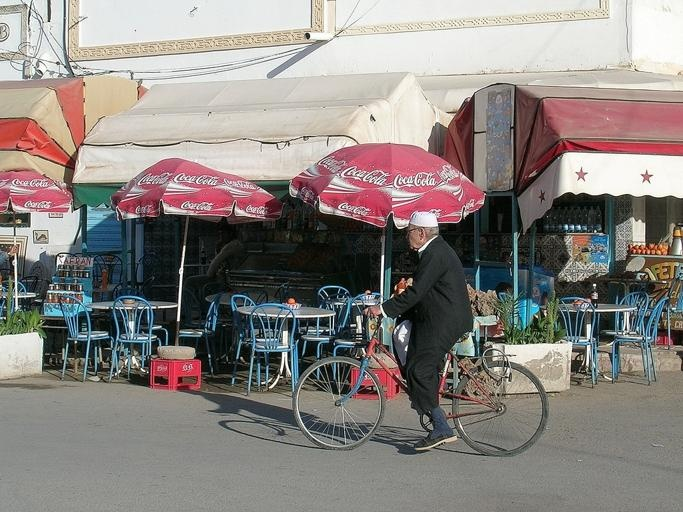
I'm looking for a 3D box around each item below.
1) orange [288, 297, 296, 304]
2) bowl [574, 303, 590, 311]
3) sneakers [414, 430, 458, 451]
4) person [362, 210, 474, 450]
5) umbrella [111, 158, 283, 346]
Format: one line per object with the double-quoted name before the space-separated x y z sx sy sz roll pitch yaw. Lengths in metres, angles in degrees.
"orange" -0.768 0.676 16.857 0.091 0.121 0.098 1 -32 -6
"bowl" 3.552 0.732 16.421 0.218 0.168 0.428 0 -6 11
"sneakers" 1.086 2.156 13.204 0.542 0.251 0.224 -14 -1 2
"person" 1.010 0.876 13.087 1.005 2.781 0.396 0 -5 8
"umbrella" -2.354 -0.003 17.174 2.552 2.840 2.653 9 7 22
